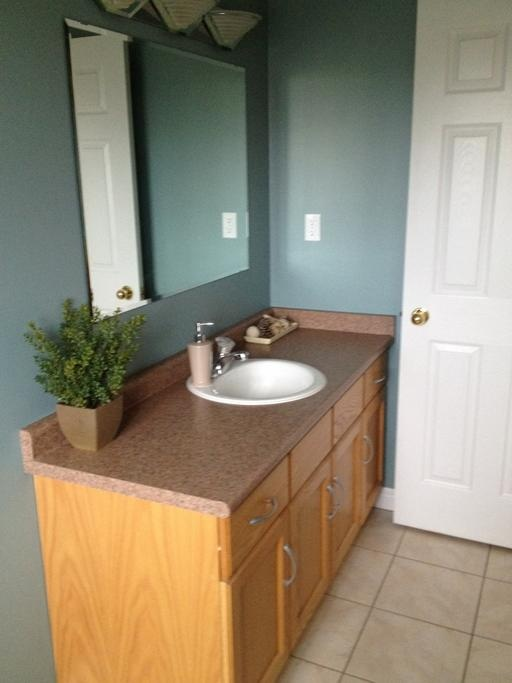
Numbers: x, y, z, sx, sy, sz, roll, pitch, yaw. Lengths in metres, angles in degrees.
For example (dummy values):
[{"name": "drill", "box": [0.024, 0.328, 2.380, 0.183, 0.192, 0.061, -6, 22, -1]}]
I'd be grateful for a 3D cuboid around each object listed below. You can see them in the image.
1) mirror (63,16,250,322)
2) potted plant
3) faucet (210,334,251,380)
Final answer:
[{"name": "mirror", "box": [-0.306, -0.532, 1.712, 0.016, 0.783, 1.026, 11, 20, 23]}, {"name": "potted plant", "box": [-0.372, 0.093, 1.347, 0.221, 0.294, 0.245, -3, 1, 14]}, {"name": "faucet", "box": [-0.100, 0.048, 1.888, 0.066, 0.082, 0.216, 11, 24, 20]}]
